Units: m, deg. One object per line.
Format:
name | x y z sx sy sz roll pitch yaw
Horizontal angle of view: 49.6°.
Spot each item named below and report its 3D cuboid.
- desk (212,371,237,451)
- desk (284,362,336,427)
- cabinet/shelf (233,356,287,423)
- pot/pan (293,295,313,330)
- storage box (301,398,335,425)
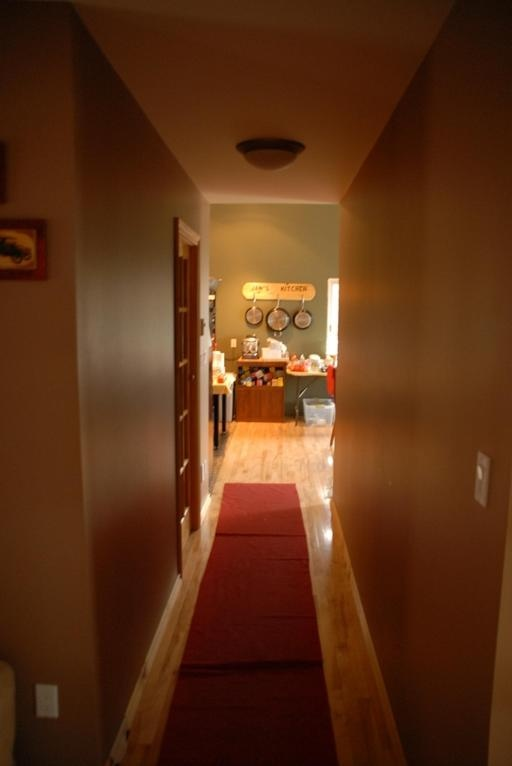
desk | -0.375 0.273 6.393 0.224 0.697 1.529 0 6 -3
desk | 0.706 0.148 7.356 0.691 0.665 0.758 13 7 18
cabinet/shelf | 0.059 0.135 7.313 0.553 0.853 0.419 1 -4 2
pot/pan | 0.618 -0.926 7.380 0.213 0.412 0.138 -1 5 3
storage box | 0.804 0.378 7.198 0.378 0.281 0.560 1 6 5
